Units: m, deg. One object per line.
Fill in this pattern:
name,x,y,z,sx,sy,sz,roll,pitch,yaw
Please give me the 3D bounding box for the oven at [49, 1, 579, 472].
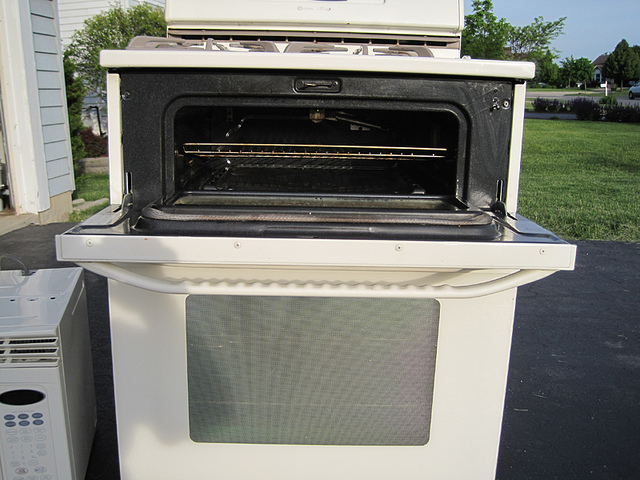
oven,-0.035,0.040,2.075,1.534,1.449,0.860,2,14,-1
